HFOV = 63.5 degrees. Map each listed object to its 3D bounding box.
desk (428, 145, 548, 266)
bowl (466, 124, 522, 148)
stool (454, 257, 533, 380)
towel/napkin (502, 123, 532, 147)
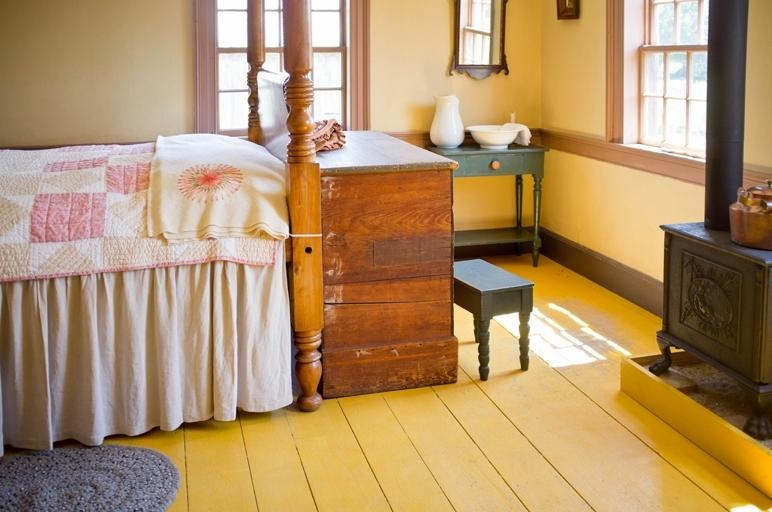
[{"bbox_3d":[0.879,-0.456,5.349,1.075,0.974,0.446,-3,12,-11],"label":"desk"},{"bbox_3d":[0.987,-1.070,5.562,0.329,0.127,0.313,1,9,0],"label":"bowl"},{"bbox_3d":[0.692,0.443,4.062,0.343,0.465,0.632,-5,16,-15],"label":"stool"},{"bbox_3d":[1.212,-1.110,5.703,0.124,0.230,0.258,2,10,-41],"label":"towel/napkin"}]
